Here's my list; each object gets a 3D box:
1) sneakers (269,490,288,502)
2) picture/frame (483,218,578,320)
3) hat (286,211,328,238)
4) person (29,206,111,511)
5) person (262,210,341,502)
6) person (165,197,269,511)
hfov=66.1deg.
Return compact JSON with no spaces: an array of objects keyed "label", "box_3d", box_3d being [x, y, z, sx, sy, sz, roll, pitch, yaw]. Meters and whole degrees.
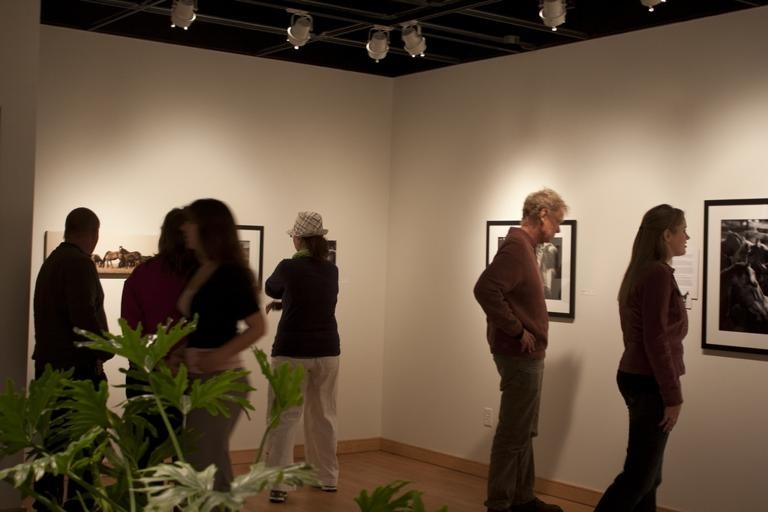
[{"label":"sneakers","box_3d":[-0.860,1.961,4.853,0.082,0.061,0.129,3,-5,9]},{"label":"picture/frame","box_3d":[1.202,0.129,4.644,0.886,1.013,0.068,0,-3,41]},{"label":"hat","box_3d":[-0.648,-0.253,4.943,0.221,0.213,0.294,-2,5,-34]},{"label":"person","box_3d":[-2.102,0.302,3.950,0.448,1.237,0.558,-1,5,-32]},{"label":"person","box_3d":[-0.668,0.841,4.933,0.634,2.393,0.513,0,4,-11]},{"label":"person","box_3d":[-0.840,0.517,3.061,0.429,1.607,0.484,0,4,-20]}]
